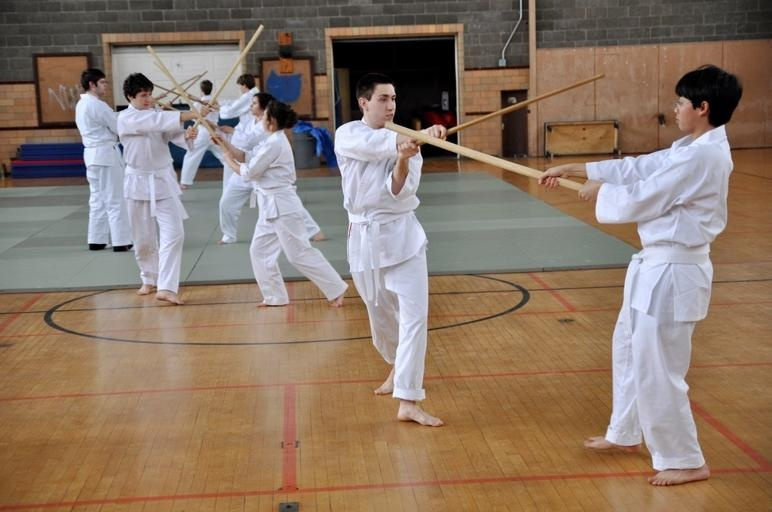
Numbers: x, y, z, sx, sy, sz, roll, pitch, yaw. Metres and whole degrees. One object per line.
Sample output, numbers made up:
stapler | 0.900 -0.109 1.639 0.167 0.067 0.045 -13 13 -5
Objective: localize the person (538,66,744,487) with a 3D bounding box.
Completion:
person | 1.603 0.105 4.130 0.600 2.332 0.902 -13 21 -39

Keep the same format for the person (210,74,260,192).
person | -2.470 -2.225 11.748 0.843 1.350 0.530 -5 28 -19

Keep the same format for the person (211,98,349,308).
person | -1.003 -0.501 6.737 0.967 1.862 1.206 -6 18 -24

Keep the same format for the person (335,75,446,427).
person | 0.061 -0.059 4.752 0.542 2.216 0.923 -8 19 -28

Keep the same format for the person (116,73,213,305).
person | -2.186 -0.671 6.958 0.619 2.126 1.052 -7 18 -26
